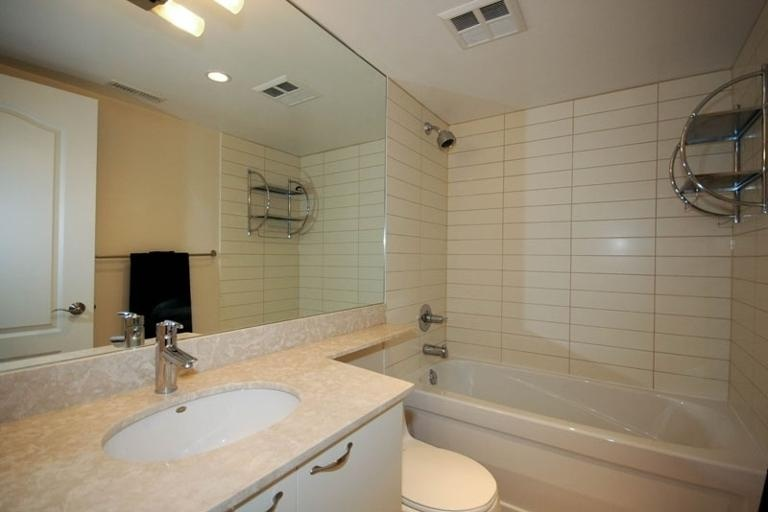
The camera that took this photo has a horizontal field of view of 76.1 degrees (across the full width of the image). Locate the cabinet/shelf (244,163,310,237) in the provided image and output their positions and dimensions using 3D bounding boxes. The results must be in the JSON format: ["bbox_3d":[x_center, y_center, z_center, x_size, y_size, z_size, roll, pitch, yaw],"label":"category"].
[{"bbox_3d":[-0.623,-0.313,2.780,0.149,0.425,0.452,1,0,26],"label":"cabinet/shelf"}]

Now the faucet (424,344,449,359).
[{"bbox_3d":[0.405,0.742,3.830,0.160,0.090,0.108,-2,-17,25],"label":"faucet"}]

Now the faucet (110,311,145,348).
[{"bbox_3d":[-1.185,0.345,2.303,0.162,0.166,0.121,-1,4,-38],"label":"faucet"}]

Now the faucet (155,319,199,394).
[{"bbox_3d":[-0.976,0.472,2.281,0.165,0.360,0.286,-2,0,-27],"label":"faucet"}]
